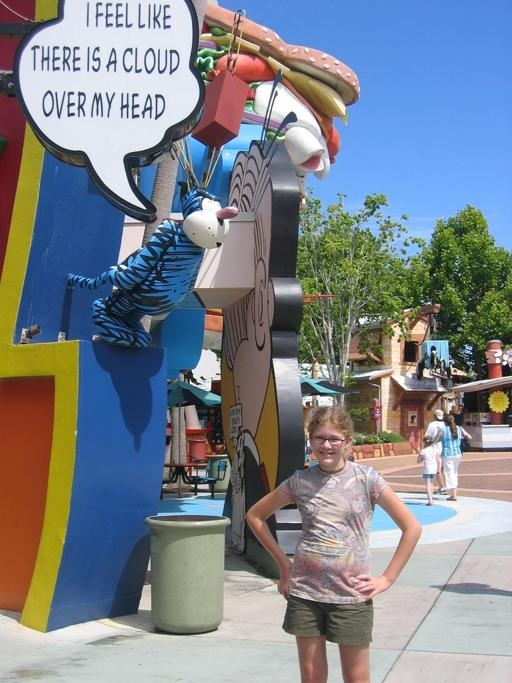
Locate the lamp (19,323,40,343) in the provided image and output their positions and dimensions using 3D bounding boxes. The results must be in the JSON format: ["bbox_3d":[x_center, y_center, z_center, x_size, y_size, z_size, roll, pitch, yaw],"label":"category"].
[{"bbox_3d":[-1.895,-0.055,6.247,0.225,0.158,0.121,-5,-9,35],"label":"lamp"}]

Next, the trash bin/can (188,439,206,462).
[{"bbox_3d":[-1.712,3.356,22.581,0.668,0.611,0.682,-8,-11,38],"label":"trash bin/can"}]

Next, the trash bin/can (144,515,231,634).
[{"bbox_3d":[-0.486,1.776,5.663,0.726,0.788,0.642,-7,-13,28],"label":"trash bin/can"}]

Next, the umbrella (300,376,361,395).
[{"bbox_3d":[1.896,1.204,19.834,1.259,0.472,2.051,-1,-7,7],"label":"umbrella"}]
